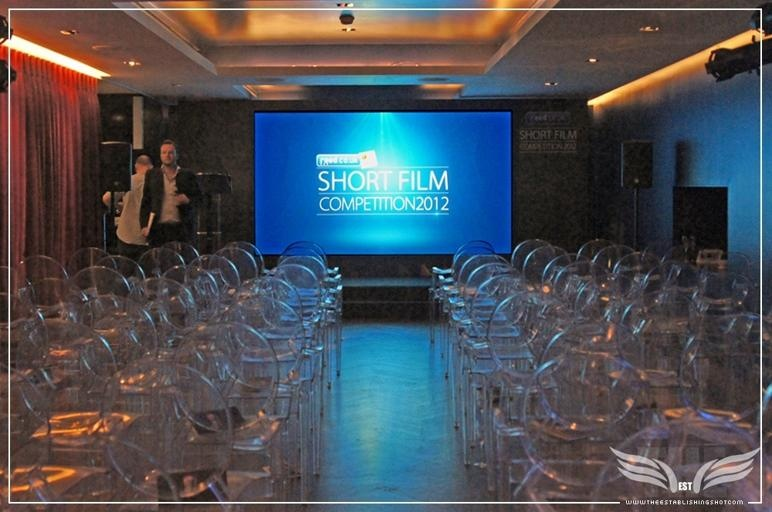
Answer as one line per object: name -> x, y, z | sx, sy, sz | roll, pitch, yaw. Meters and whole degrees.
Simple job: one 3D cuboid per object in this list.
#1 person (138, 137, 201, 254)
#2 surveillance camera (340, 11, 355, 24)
person -> -3.271, -0.820, 10.708 | 0.768, 1.289, 1.546 | -1, 12, -4
surveillance camera -> -0.550, -3.252, 9.713 | 0.154, 0.051, 0.162 | -1, -30, 2
